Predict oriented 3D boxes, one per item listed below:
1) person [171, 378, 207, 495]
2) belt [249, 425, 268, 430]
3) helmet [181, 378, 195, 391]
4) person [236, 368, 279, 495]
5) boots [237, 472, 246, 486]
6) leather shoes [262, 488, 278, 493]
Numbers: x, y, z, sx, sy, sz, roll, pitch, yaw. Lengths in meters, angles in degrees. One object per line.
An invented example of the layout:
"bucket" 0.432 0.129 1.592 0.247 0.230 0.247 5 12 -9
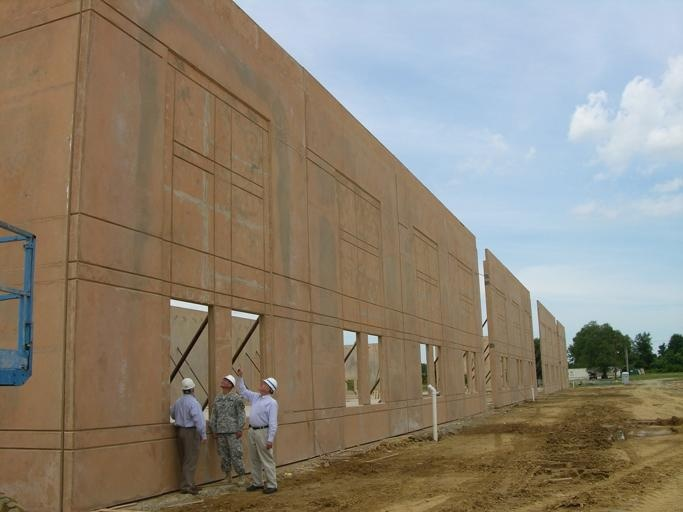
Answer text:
"person" -2.819 3.307 11.055 0.621 2.055 0.435 -2 -13 -7
"belt" -1.595 3.332 11.686 0.401 0.103 0.111 -12 -17 24
"helmet" -2.884 2.415 11.371 0.223 0.171 0.299 -1 5 -9
"person" -1.599 3.375 11.744 0.739 2.355 0.953 6 -17 -35
"boots" -1.919 4.375 11.728 0.147 0.347 0.333 0 -17 3
"leather shoes" -1.312 4.373 11.187 0.260 0.110 0.301 -2 -16 -7
